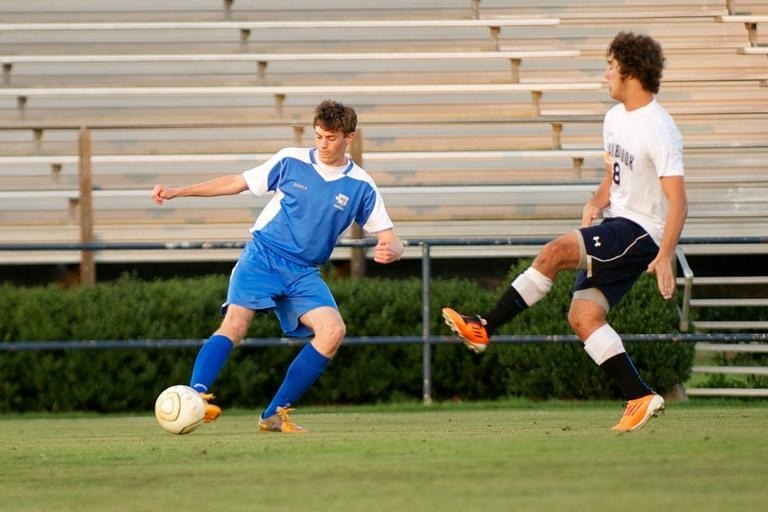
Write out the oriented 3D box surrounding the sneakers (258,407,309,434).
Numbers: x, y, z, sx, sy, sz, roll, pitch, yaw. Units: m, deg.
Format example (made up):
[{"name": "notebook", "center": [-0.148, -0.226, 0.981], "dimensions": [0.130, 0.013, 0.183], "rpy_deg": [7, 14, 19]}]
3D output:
[{"name": "sneakers", "center": [-0.962, 1.643, 18.481], "dimensions": [0.554, 0.223, 0.201], "rpy_deg": [-6, -9, 30]}]
